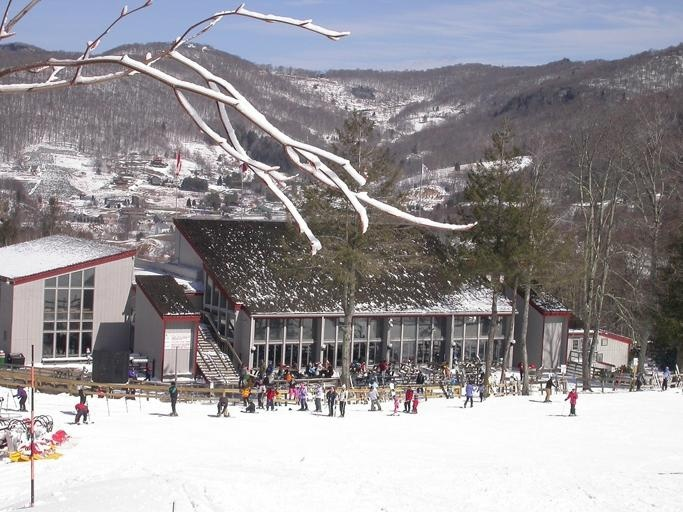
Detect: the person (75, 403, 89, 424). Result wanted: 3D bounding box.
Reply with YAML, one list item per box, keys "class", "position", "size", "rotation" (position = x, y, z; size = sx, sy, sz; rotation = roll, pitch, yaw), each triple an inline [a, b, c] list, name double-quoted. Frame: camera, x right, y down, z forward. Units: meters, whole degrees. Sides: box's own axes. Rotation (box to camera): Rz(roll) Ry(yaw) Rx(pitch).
- class: "person"
  position: [-17.799, 10.711, 84.147]
  size: [0.823, 1.509, 1.422]
  rotation: [1, -8, -5]

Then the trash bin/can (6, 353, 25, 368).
- class: "trash bin/can"
  position: [-24.758, 7.878, 93.487]
  size: [1.180, 1.342, 0.912]
  rotation: [1, 7, -18]

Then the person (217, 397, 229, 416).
- class: "person"
  position: [-8.558, 10.734, 88.249]
  size: [0.720, 1.433, 1.181]
  rotation: [1, -8, -8]
